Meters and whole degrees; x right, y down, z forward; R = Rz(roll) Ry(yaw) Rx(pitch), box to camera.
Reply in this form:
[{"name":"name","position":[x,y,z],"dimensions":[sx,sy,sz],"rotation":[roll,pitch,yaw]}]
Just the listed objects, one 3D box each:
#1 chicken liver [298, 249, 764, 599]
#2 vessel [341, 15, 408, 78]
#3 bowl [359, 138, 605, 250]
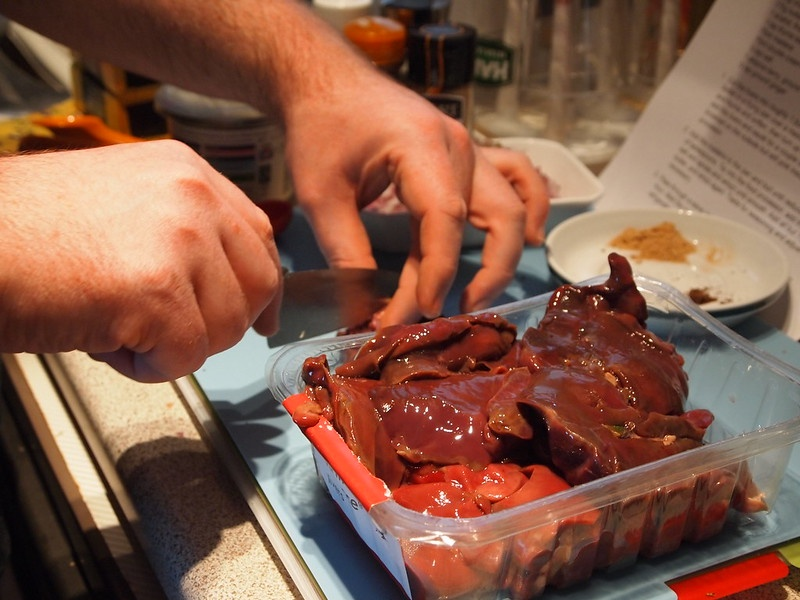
[{"name":"chicken liver","position":[0.192,0.163,1.147],"dimensions":[0.642,0.236,0.489],"rotation":[-17,41,-20]},{"name":"vessel","position":[-0.077,-0.690,1.850],"dimensions":[0.163,0.156,0.163],"rotation":[-16,33,-30]},{"name":"bowl","position":[0.232,-0.307,1.787],"dimensions":[0.500,0.124,0.344],"rotation":[-12,39,-21]}]
